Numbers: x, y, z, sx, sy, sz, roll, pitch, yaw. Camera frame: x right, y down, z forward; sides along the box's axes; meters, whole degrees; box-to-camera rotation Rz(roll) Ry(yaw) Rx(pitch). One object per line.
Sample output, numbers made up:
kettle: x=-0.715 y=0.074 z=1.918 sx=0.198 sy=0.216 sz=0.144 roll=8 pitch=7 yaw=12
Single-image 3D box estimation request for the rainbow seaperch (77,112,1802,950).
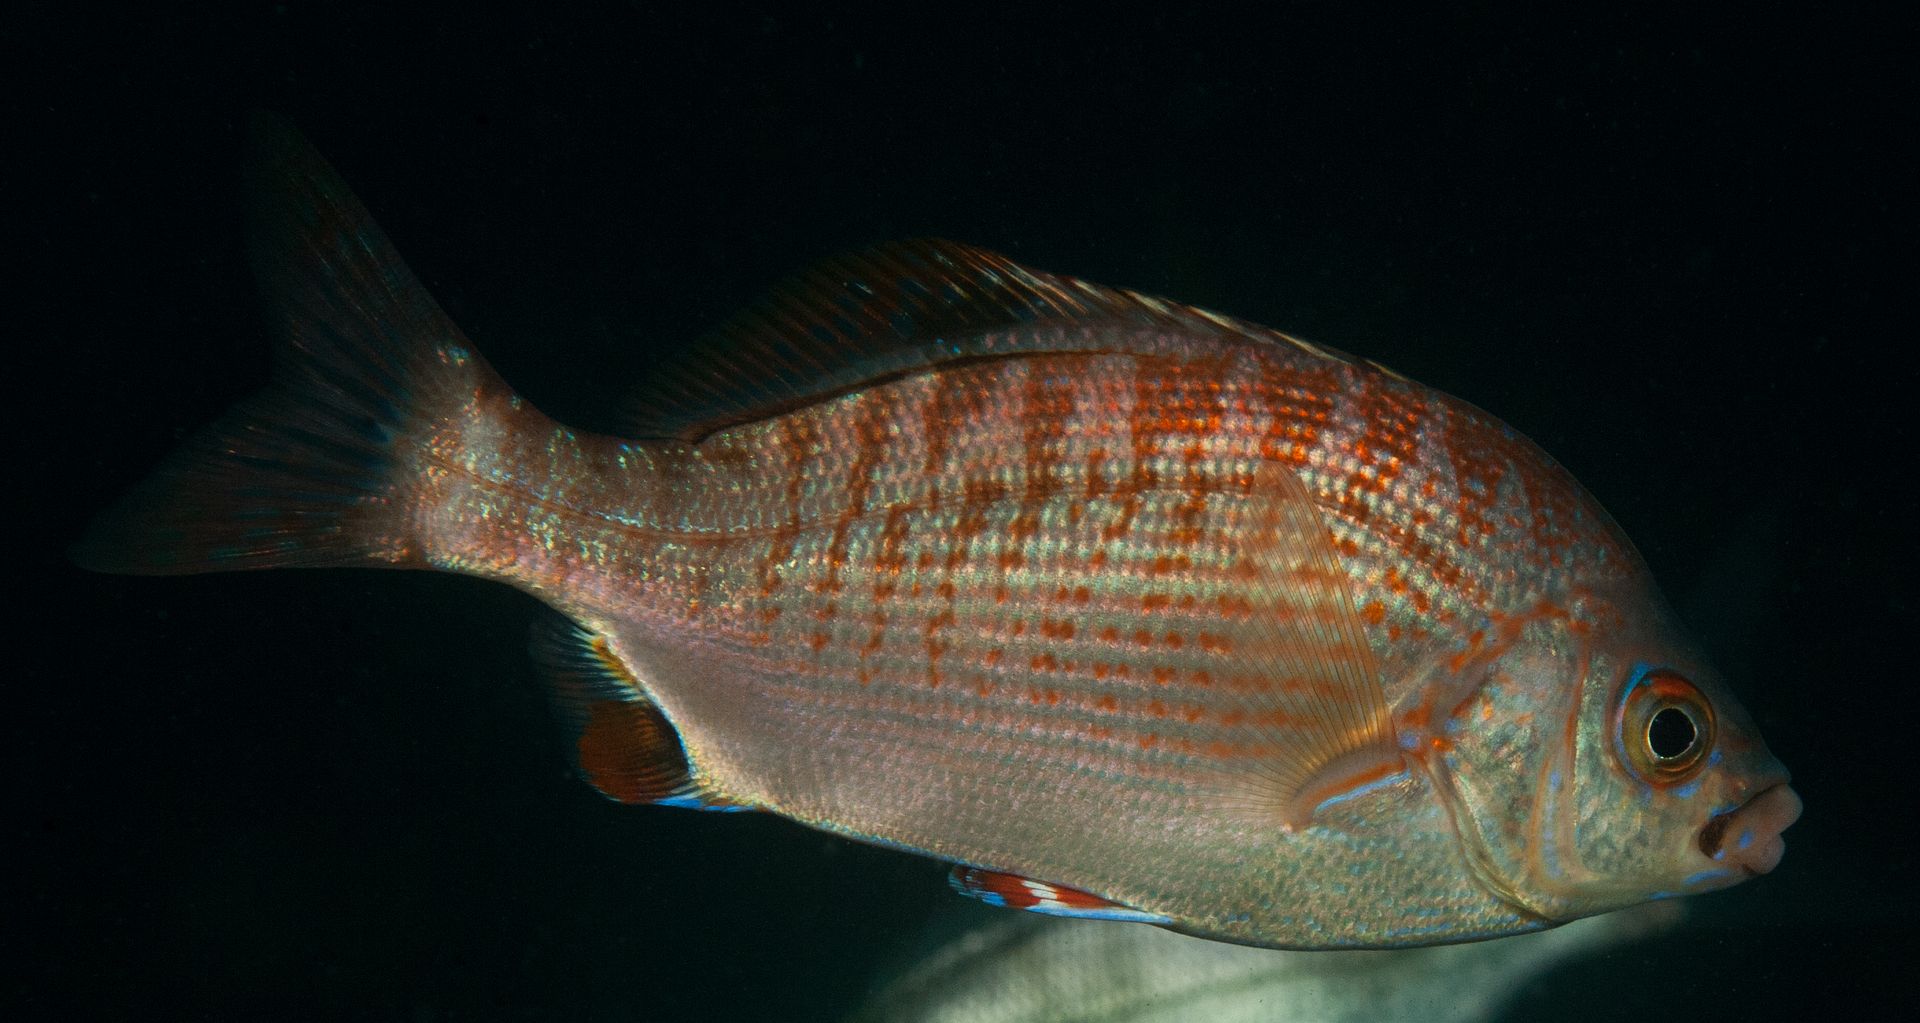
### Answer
rainbow seaperch: x=0.013 y=0.137 z=4.503 sx=3.855 sy=1.330 sz=0.843 roll=10 pitch=1 yaw=0
